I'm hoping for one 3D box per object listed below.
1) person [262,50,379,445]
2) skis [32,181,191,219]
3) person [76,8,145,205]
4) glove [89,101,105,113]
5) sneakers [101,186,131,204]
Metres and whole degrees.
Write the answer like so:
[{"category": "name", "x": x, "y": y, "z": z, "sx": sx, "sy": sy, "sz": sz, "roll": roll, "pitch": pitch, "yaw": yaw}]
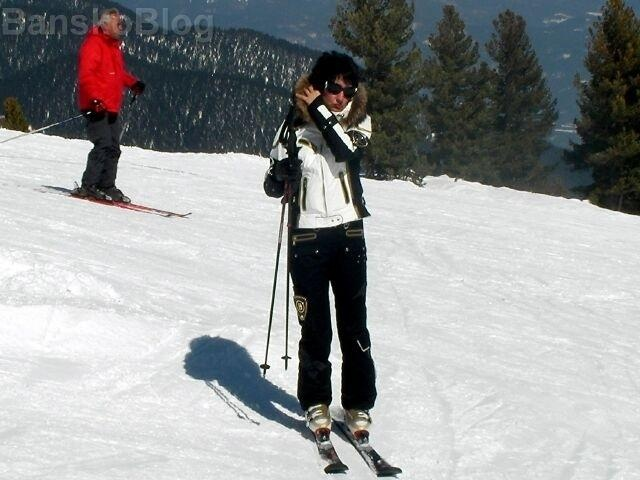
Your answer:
[{"category": "person", "x": 0.106, "y": 0.052, "z": 7.719, "sx": 0.735, "sy": 3.138, "sz": 1.351, "roll": -6, "pitch": 23, "yaw": -36}, {"category": "skis", "x": -2.840, "y": -0.520, "z": 11.959, "sx": 1.590, "sy": 0.128, "sz": 0.212, "roll": 15, "pitch": 22, "yaw": -25}, {"category": "person", "x": -2.736, "y": -1.674, "z": 11.469, "sx": 0.522, "sy": 2.443, "sz": 0.754, "roll": 23, "pitch": 23, "yaw": 37}, {"category": "glove", "x": -2.765, "y": -1.637, "z": 11.112, "sx": 0.154, "sy": 0.147, "sz": 0.149, "roll": 2, "pitch": 6, "yaw": 5}, {"category": "sneakers", "x": -2.692, "y": -0.559, "z": 11.882, "sx": 0.438, "sy": 0.180, "sz": 0.141, "roll": 13, "pitch": 50, "yaw": -33}]
